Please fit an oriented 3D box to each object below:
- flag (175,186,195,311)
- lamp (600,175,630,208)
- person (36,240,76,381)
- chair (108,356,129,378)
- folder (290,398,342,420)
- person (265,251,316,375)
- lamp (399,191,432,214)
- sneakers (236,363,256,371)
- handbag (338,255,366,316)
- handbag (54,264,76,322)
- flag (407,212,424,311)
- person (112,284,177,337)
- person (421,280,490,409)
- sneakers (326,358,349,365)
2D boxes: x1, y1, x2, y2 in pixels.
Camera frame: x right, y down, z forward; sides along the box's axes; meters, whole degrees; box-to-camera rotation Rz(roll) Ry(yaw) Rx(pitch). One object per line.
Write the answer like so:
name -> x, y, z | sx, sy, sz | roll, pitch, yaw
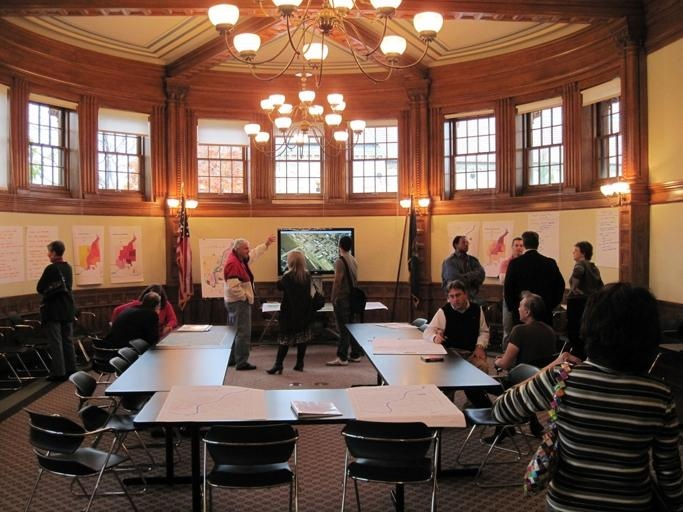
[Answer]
flag -> -3.030, -0.140, 10.357 | 0.472, 2.298, 0.529 | -4, 6, -17
lamp -> 4.304, -0.980, 8.278 | 0.392, 0.493, 0.540 | 5, -6, -41
person -> -4.146, 0.788, 7.669 | 0.408, 2.010, 0.429 | -3, 6, -5
chair -> -2.147, 1.055, 5.082 | 0.174, 0.223, 0.168 | 1, 6, 28
folder -> -0.177, 1.080, 3.755 | 0.355, 0.046, 0.310 | -3, 4, -6
person -> -0.723, 0.814, 7.725 | 0.690, 1.803, 0.410 | -3, 6, -3
lamp -> 1.524, -1.055, 10.703 | 0.689, 0.454, 0.355 | 0, -2, 8
sneakers -> -1.437, 1.664, 7.990 | 0.305, 0.133, 0.110 | 1, 3, -17
handbag -> 0.185, 0.467, 8.166 | 0.355, 0.959, 0.314 | -3, 5, 0
handbag -> -3.991, 0.530, 7.657 | 0.208, 0.646, 0.498 | 5, 7, 17
flag -> 1.476, 0.092, 10.632 | 0.273, 1.998, 0.480 | -1, 6, 15
person -> -2.807, 0.727, 7.371 | 1.006, 0.541, 0.760 | 1, 6, 7
person -> 1.276, 0.968, 5.643 | 0.781, 1.386, 0.686 | -4, -3, -19
sneakers -> -0.059, 1.667, 8.325 | 0.395, 0.165, 0.132 | 3, -1, 1
